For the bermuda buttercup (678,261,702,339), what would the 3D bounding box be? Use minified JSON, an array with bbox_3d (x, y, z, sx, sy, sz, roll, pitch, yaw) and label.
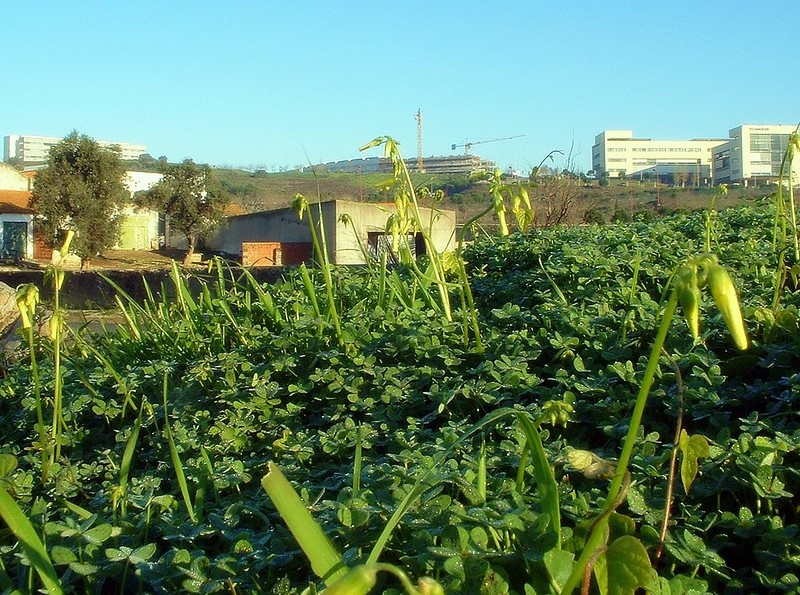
[{"bbox_3d":[0.622,0.001,1.437,0.042,0.217,0.071,-3,-18,26],"label":"bermuda buttercup"}]
